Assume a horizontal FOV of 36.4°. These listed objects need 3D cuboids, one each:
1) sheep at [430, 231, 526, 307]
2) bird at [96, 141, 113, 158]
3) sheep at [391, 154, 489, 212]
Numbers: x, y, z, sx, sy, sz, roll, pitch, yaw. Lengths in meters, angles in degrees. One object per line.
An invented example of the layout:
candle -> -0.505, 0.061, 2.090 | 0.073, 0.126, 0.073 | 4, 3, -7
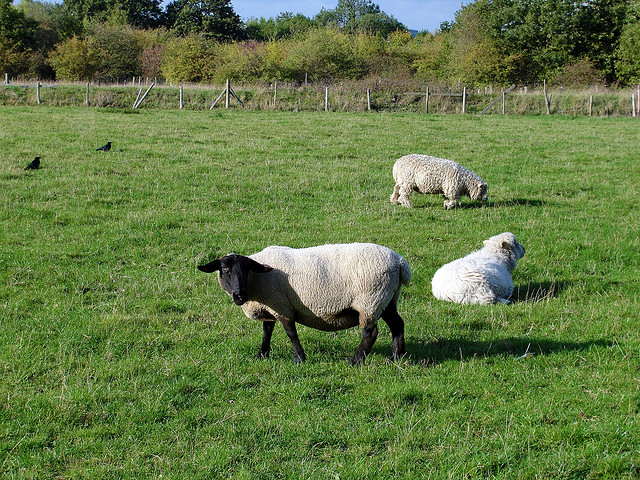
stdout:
sheep -> 6.057, 1.123, 37.373 | 3.311, 2.686, 1.671 | 5, 8, -6
bird -> -10.136, -4.359, 46.638 | 1.032, 0.757, 0.345 | -1, -1, 37
sheep -> 5.150, -2.480, 43.527 | 3.845, 2.238, 0.859 | 6, 8, 2
